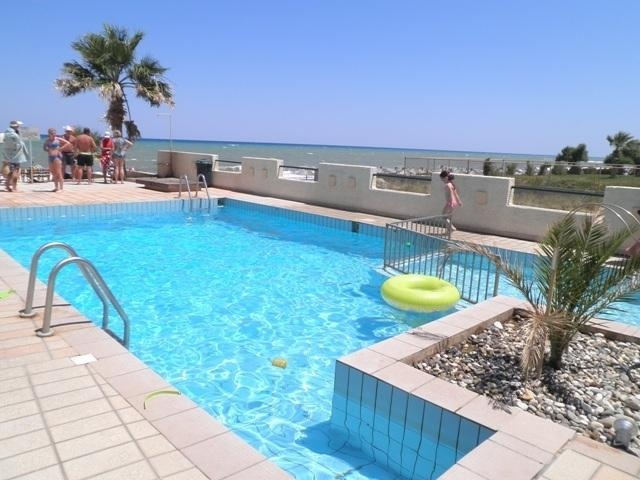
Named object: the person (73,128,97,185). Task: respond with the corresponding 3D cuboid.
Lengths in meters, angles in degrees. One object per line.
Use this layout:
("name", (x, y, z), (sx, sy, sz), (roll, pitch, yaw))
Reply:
("person", (-9.100, -3.217, 14.841), (0.716, 2.059, 1.445), (-8, 16, -30))
